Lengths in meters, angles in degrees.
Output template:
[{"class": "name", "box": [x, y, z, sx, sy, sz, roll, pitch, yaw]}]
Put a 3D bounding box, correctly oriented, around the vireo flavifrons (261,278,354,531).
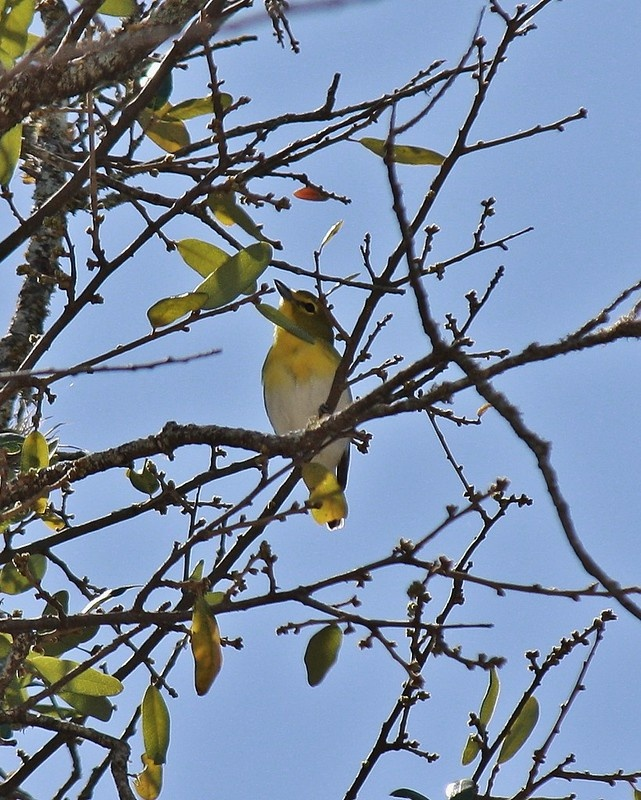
[{"class": "vireo flavifrons", "box": [-0.039, 0.012, 7.502, 0.472, 0.605, 1.161, 3, -94, -6]}]
